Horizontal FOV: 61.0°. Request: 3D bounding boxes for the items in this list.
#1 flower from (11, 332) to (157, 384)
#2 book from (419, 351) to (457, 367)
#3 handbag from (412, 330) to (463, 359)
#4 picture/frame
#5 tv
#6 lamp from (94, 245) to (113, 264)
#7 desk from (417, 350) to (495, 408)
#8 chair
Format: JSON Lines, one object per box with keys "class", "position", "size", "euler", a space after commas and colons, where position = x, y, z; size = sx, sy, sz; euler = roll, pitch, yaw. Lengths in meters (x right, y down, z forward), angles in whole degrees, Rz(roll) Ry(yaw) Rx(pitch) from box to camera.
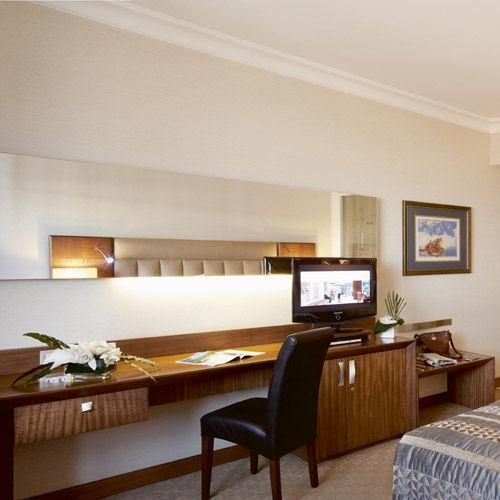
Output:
{"class": "flower", "position": [-0.827, 0.489, 1.932], "size": [0.372, 0.122, 0.378], "euler": [-1, -7, 12]}
{"class": "book", "position": [1.494, 0.878, 3.408], "size": [0.285, 0.056, 0.278], "euler": [-2, -3, 34]}
{"class": "handbag", "position": [1.583, 0.783, 3.574], "size": [0.350, 0.119, 0.337], "euler": [1, 0, -33]}
{"class": "picture/frame", "position": [1.667, -0.119, 3.866], "size": [0.740, 0.534, 0.030], "euler": [1, -2, -32]}
{"class": "tv", "position": [0.561, 0.320, 2.914], "size": [0.629, 0.527, 0.196], "euler": [1, -3, -29]}
{"class": "lamp", "position": [-0.791, 0.025, 2.309], "size": [0.031, 0.103, 0.059], "euler": [-16, 23, 46]}
{"class": "desk", "position": [1.742, 1.098, 3.597], "size": [0.559, 0.328, 0.294], "euler": [2, -6, -33]}
{"class": "chair", "position": [0.081, 0.856, 2.231], "size": [0.625, 0.894, 0.378], "euler": [-2, -2, 30]}
